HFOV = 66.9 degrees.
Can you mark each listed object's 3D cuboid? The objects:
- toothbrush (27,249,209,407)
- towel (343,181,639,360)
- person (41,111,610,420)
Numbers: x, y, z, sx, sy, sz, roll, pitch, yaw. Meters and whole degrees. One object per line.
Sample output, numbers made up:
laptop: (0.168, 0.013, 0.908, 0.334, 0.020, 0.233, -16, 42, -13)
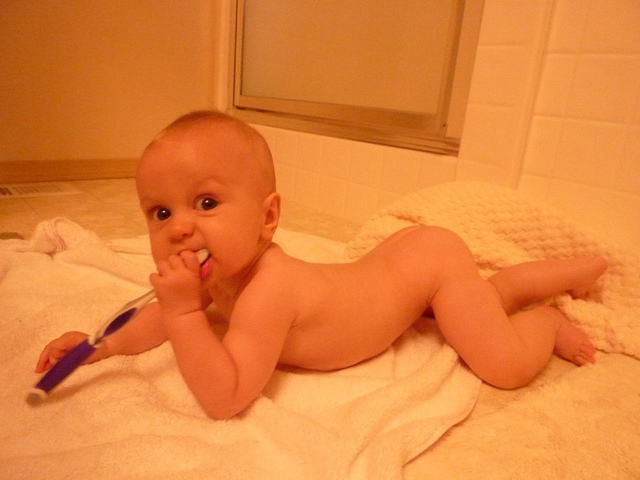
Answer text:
toothbrush: (-0.380, 0.172, 0.899, 0.041, 0.316, 0.032, 41, -2, 9)
towel: (0.415, 0.121, 1.253, 0.410, 0.200, 0.631, -10, 36, -44)
person: (0.084, 0.043, 1.046, 1.050, 0.553, 0.463, -4, 5, -12)
